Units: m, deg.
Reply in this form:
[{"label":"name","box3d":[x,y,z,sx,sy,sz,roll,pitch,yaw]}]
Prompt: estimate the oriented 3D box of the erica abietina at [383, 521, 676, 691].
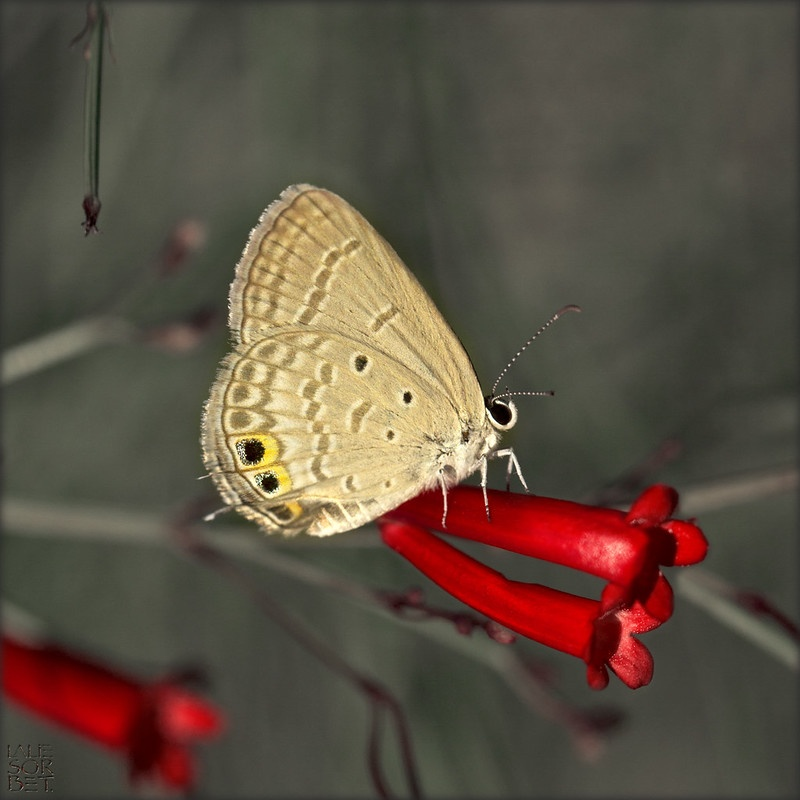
[{"label":"erica abietina","box3d":[0.323,0.497,2.542,0.782,0.289,0.310,22,88,19]}]
